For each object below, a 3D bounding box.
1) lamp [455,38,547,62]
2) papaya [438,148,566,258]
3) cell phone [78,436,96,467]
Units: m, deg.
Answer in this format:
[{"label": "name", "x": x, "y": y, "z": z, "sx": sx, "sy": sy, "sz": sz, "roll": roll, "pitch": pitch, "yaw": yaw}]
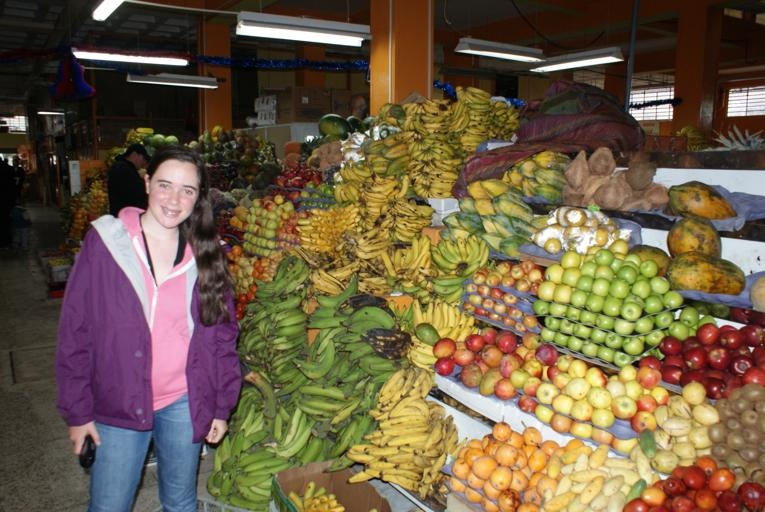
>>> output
[{"label": "lamp", "x": 2.348, "y": -4.098, "z": 11.014, "sx": 2.512, "sy": 0.257, "sz": 0.510, "roll": -5, "pitch": 3, "yaw": -34}, {"label": "papaya", "x": 0.872, "y": -0.366, "z": 4.163, "sx": 0.872, "sy": 0.591, "sz": 0.313, "roll": -17, "pitch": -21, "yaw": 28}, {"label": "cell phone", "x": -1.682, "y": 1.145, "z": 3.186, "sx": 0.068, "sy": 0.192, "sz": 0.075, "roll": -3, "pitch": 6, "yaw": 14}]
